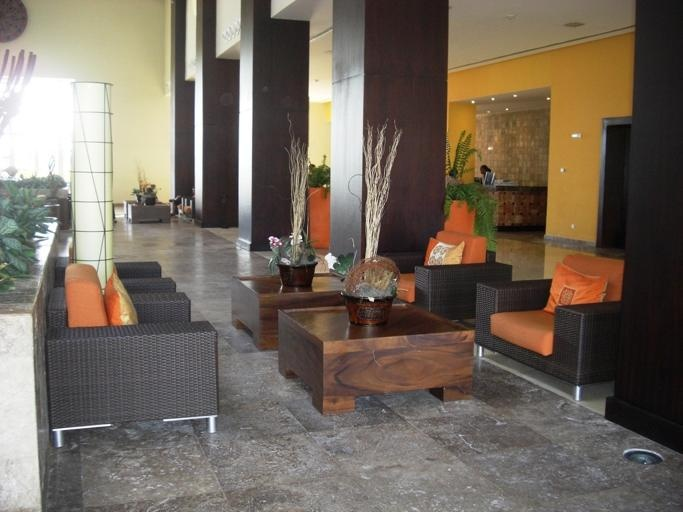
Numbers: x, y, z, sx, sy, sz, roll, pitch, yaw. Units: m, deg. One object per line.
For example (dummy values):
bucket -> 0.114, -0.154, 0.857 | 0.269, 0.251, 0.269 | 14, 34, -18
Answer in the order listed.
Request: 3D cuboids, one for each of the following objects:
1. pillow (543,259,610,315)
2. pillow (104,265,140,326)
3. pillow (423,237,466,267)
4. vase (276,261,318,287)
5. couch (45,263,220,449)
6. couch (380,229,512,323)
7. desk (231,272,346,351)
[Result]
pillow -> 1.802, 0.245, 3.709 | 0.161, 0.351, 0.395 | -6, 8, -35
pillow -> -1.375, 0.280, 2.995 | 0.152, 0.276, 0.459 | -5, 16, -26
pillow -> 1.109, -0.025, 5.124 | 0.087, 0.297, 0.295 | 37, -15, -32
vase -> -0.403, 0.153, 4.551 | 0.272, 0.150, 0.262 | -1, 3, -11
couch -> -1.274, 0.548, 2.933 | 0.831, 0.892, 1.029 | -4, 10, -27
couch -> 1.083, 0.248, 5.081 | 0.966, 0.861, 1.296 | -1, 5, -16
desk -> -0.653, 0.399, 4.507 | 0.772, 0.325, 0.716 | -3, 6, -25
